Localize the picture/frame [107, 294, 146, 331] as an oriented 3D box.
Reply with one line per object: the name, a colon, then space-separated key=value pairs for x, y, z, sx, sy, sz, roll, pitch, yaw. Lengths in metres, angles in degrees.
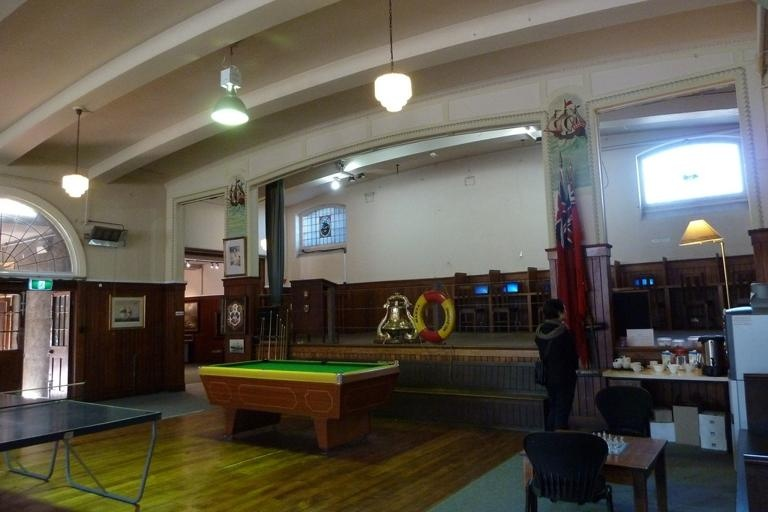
picture/frame: x=-5.985 y=1.294 z=12.472 sx=0.061 sy=0.894 sz=0.874 roll=-9 pitch=-7 yaw=43

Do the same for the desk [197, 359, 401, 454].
desk: x=-1.248 y=2.236 z=8.318 sx=2.783 sy=1.309 sz=1.005 roll=0 pitch=5 yaw=22

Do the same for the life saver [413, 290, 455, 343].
life saver: x=0.983 y=1.057 z=9.797 sx=0.843 sy=0.942 sz=0.240 roll=1 pitch=-3 yaw=16
